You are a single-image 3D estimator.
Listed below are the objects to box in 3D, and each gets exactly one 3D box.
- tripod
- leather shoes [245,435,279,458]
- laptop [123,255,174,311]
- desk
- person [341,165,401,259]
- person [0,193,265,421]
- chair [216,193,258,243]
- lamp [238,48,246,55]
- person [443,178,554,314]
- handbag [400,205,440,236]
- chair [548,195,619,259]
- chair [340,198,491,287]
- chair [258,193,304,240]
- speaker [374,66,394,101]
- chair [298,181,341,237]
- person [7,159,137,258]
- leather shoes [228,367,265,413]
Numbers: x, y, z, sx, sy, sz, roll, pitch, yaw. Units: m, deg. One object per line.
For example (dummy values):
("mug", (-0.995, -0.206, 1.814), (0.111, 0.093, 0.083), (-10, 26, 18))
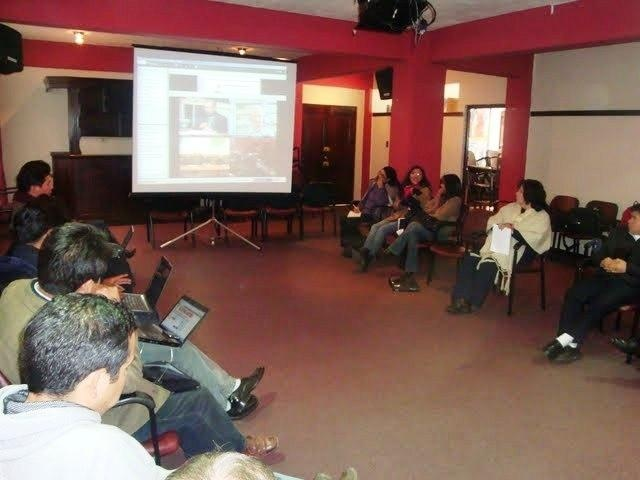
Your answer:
("tripod", (-1.694, -0.165, 7.618), (1.128, 0.925, 0.856), (5, 26, -5))
("leather shoes", (-0.325, 1.138, 2.711), (0.196, 0.062, 0.142), (5, 26, -38))
("laptop", (-1.060, 0.253, 3.054), (0.319, 0.306, 0.394), (2, 25, -21))
("desk", (-3.483, -0.840, 7.473), (1.181, 1.159, 0.402), (-3, 16, -16))
("person", (0.789, -0.446, 6.778), (0.628, 1.190, 0.557), (-1, 15, -6))
("person", (-1.096, 0.353, 3.175), (1.459, 1.608, 0.685), (-10, 44, -31))
("chair", (-1.136, -0.329, 6.974), (0.598, 0.719, 0.599), (-4, 6, -35))
("lamp", (-1.315, -3.209, 8.211), (0.117, 0.094, 0.122), (1, 14, 3))
("person", (1.760, 0.056, 4.785), (1.007, 1.262, 0.474), (-4, 15, -16))
("handbag", (1.209, -0.249, 5.682), (0.263, 0.147, 0.337), (-31, 58, -34))
("chair", (3.276, -0.169, 5.970), (0.796, 1.048, 0.803), (3, 3, 42))
("chair", (1.156, -0.072, 6.280), (1.235, 1.590, 0.817), (17, -4, -29))
("chair", (-0.639, -0.441, 7.608), (0.667, 0.974, 0.706), (-3, 23, -10))
("speaker", (1.079, -2.590, 8.031), (0.227, 0.466, 0.793), (-1, 15, -4))
("chair", (-0.028, -0.453, 7.450), (0.582, 0.925, 0.664), (0, -7, 6))
("person", (-2.763, -0.447, 5.366), (0.423, 0.906, 1.345), (-3, 15, -19))
("leather shoes", (-0.453, 0.956, 3.114), (0.103, 0.129, 0.324), (-7, 21, 19))
